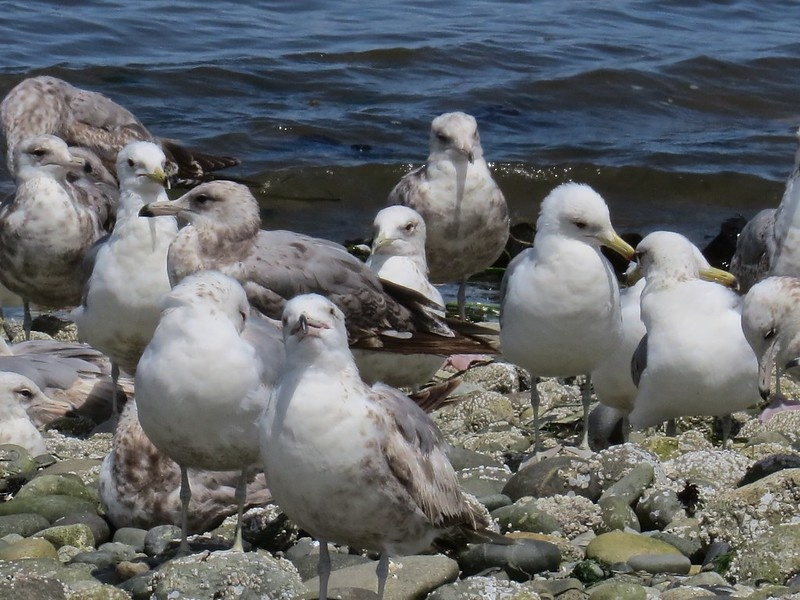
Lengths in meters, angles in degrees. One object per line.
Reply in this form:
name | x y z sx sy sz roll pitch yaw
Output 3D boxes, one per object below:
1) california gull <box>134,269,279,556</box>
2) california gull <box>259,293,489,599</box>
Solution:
california gull | -1.231 0.725 7.545 0.841 1.706 0.822 8 18 8
california gull | -0.187 0.837 6.696 1.233 1.703 0.640 3 18 -6
